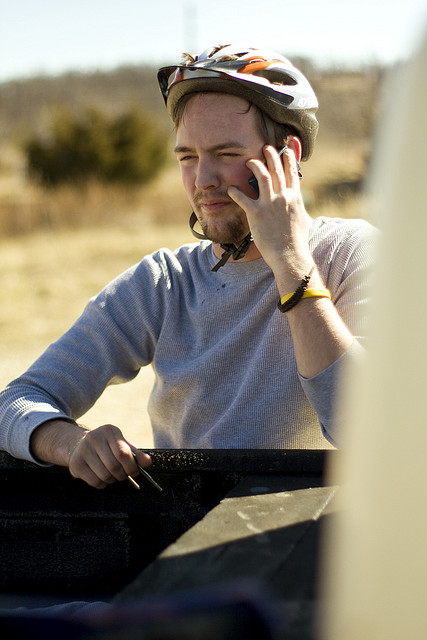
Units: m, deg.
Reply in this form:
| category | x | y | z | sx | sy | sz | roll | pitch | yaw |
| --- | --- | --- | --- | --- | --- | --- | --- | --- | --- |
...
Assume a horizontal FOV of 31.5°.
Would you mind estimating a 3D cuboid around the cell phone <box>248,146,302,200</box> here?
| category | x | y | z | sx | sy | sz | roll | pitch | yaw |
| --- | --- | --- | --- | --- | --- | --- | --- | --- | --- |
| cell phone | 0.112 | -0.291 | 1.492 | 0.031 | 0.099 | 0.109 | 20 | 40 | 32 |

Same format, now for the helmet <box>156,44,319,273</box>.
| category | x | y | z | sx | sy | sz | roll | pitch | yaw |
| --- | --- | --- | --- | --- | --- | --- | --- | --- | --- |
| helmet | 0.054 | -0.436 | 1.565 | 0.319 | 0.248 | 0.197 | 1 | 26 | 5 |

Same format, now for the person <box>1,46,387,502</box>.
| category | x | y | z | sx | sy | sz | roll | pitch | yaw |
| --- | --- | --- | --- | --- | --- | --- | --- | --- | --- |
| person | -0.051 | -0.077 | 1.460 | 0.690 | 0.826 | 0.860 | 4 | 25 | 11 |

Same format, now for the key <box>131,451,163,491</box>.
| category | x | y | z | sx | sy | sz | roll | pitch | yaw |
| --- | --- | --- | --- | --- | --- | --- | --- | --- | --- |
| key | -0.104 | 0.236 | 1.178 | 0.019 | 0.045 | 0.071 | -20 | 30 | -32 |

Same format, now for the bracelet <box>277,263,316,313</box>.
| category | x | y | z | sx | sy | sz | roll | pitch | yaw |
| --- | --- | --- | --- | --- | --- | --- | --- | --- | --- |
| bracelet | 0.140 | -0.056 | 1.293 | 0.020 | 0.070 | 0.059 | 38 | -2 | -10 |
